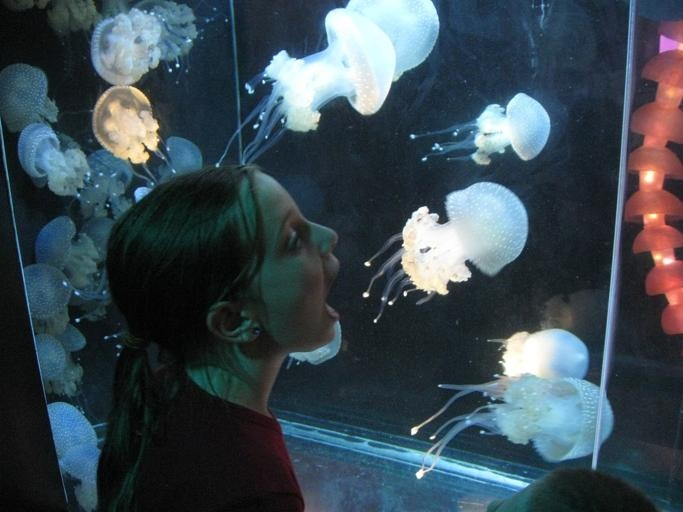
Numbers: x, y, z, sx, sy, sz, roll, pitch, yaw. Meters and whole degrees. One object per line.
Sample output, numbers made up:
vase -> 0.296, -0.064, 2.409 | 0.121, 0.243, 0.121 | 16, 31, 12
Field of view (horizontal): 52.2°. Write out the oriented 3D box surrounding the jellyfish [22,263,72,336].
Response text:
jellyfish -> -1.443, 0.185, 3.513 | 0.195, 0.390, 0.243 | -6, 16, -18

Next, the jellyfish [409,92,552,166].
jellyfish -> 0.707, -0.613, 3.348 | 0.582, 0.370, 0.097 | 15, 16, 26

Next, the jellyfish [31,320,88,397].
jellyfish -> -1.432, 0.529, 3.549 | 0.236, 0.366, 0.114 | 0, 15, -27

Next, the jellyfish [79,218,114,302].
jellyfish -> -1.198, 0.028, 3.385 | 0.108, 0.426, 0.132 | 0, 4, 28

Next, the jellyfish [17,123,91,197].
jellyfish -> -1.417, -0.473, 3.430 | 0.139, 0.343, 0.336 | 15, 16, 29

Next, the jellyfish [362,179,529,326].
jellyfish -> 0.542, 0.002, 3.550 | 0.746, 0.827, 0.163 | 11, 14, 13

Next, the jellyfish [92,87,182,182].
jellyfish -> -1.092, -0.644, 3.654 | 0.280, 0.439, 0.097 | -47, 26, -20
